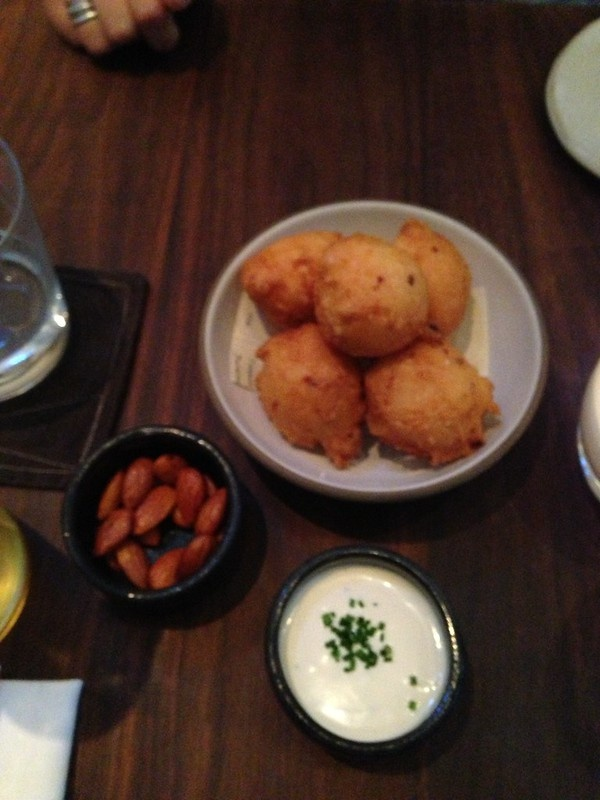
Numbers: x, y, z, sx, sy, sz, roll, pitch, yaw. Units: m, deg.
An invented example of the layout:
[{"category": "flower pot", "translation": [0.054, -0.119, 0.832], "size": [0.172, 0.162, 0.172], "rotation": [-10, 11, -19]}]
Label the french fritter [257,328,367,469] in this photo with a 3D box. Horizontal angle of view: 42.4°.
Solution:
[{"category": "french fritter", "translation": [0.007, -0.003, 0.720], "size": [0.097, 0.043, 0.135], "rotation": [-13, 87, 8]}]

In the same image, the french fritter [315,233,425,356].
[{"category": "french fritter", "translation": [0.067, -0.085, 0.722], "size": [0.097, 0.054, 0.099], "rotation": [-24, 78, -3]}]

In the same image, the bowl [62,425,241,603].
[{"category": "bowl", "translation": [-0.127, 0.101, 0.683], "size": [0.148, 0.069, 0.157], "rotation": [-4, 65, 9]}]

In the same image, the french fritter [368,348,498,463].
[{"category": "french fritter", "translation": [0.120, 0.004, 0.713], "size": [0.120, 0.061, 0.107], "rotation": [-15, 64, 4]}]

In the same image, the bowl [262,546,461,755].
[{"category": "bowl", "translation": [0.055, 0.209, 0.655], "size": [0.158, 0.043, 0.166], "rotation": [-4, 65, 9]}]

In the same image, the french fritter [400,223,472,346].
[{"category": "french fritter", "translation": [0.125, -0.103, 0.762], "size": [0.062, 0.079, 0.104], "rotation": [-23, 89, -1]}]
